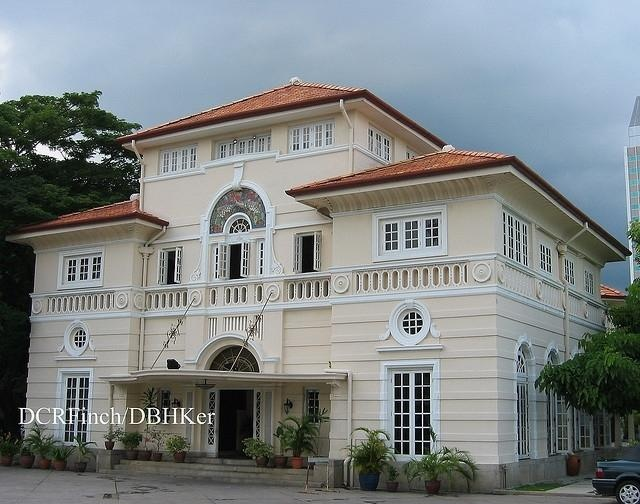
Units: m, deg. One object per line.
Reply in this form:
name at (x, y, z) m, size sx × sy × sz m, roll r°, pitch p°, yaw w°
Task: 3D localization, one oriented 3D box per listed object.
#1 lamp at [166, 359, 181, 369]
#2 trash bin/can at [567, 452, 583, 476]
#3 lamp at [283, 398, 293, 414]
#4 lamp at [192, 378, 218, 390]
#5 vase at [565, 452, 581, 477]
lamp at (-4.792, 3.663, 24.874) m, size 0.455 × 0.432 × 0.429 m, roll 2°, pitch -3°, yaw 9°
trash bin/can at (8.448, 7.123, 25.503) m, size 0.606 × 0.718 × 0.603 m, roll 4°, pitch -23°, yaw -1°
lamp at (-1.007, 4.956, 24.520) m, size 0.316 × 0.537 × 0.279 m, roll -18°, pitch -31°, yaw 39°
lamp at (-3.818, 4.428, 25.356) m, size 0.677 × 0.400 × 0.718 m, roll 9°, pitch -20°, yaw -27°
vase at (8.533, 7.100, 25.445) m, size 0.608 × 0.718 × 0.606 m, roll 5°, pitch -19°, yaw -9°
